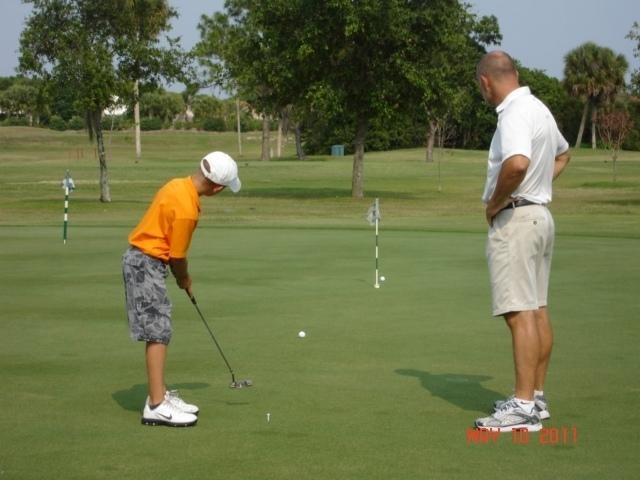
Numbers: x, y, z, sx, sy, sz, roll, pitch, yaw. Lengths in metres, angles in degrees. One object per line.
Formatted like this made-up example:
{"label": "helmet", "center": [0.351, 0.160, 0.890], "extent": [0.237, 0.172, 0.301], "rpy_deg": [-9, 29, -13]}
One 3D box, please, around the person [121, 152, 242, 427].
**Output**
{"label": "person", "center": [-1.608, 0.469, 11.211], "extent": [1.413, 2.665, 1.068], "rpy_deg": [0, 1, -11]}

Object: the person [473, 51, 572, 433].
{"label": "person", "center": [2.029, -0.015, 10.595], "extent": [0.783, 3.888, 0.838], "rpy_deg": [1, 5, 10]}

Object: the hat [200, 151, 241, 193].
{"label": "hat", "center": [-1.051, -0.697, 10.869], "extent": [0.490, 0.270, 0.342], "rpy_deg": [29, 29, -30]}

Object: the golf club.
{"label": "golf club", "center": [-1.257, 1.240, 12.655], "extent": [0.263, 1.184, 0.100], "rpy_deg": [-24, 1, 30]}
